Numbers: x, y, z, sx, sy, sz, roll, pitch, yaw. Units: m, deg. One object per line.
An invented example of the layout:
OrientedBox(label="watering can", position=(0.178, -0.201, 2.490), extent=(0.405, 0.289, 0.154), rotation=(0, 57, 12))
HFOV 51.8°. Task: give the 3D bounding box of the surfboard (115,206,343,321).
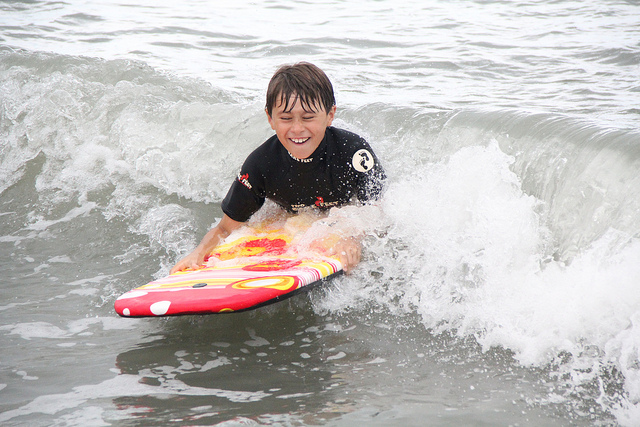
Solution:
OrientedBox(label="surfboard", position=(-0.626, 0.433, 5.100), extent=(0.788, 0.190, 1.635), rotation=(9, 21, 37))

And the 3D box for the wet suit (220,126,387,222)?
OrientedBox(label="wet suit", position=(-0.141, -0.327, 5.682), extent=(1.793, 0.850, 0.751), rotation=(-1, 46, 3))
